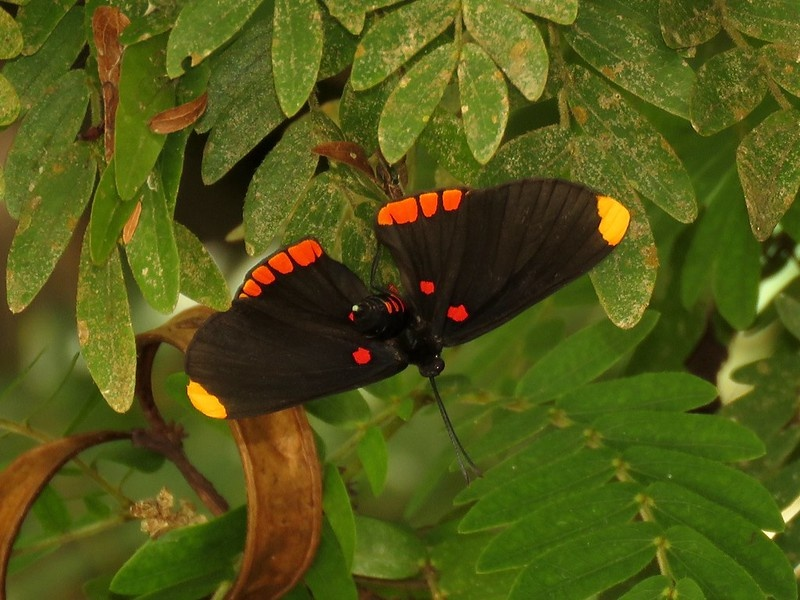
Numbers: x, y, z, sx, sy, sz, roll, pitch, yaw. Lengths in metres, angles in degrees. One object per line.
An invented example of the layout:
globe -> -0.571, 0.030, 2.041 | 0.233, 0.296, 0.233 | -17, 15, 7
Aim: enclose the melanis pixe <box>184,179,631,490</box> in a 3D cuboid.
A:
melanis pixe -> 0.014, -0.025, 1.993 | 0.779, 0.532, 0.615 | -1, 24, -3
